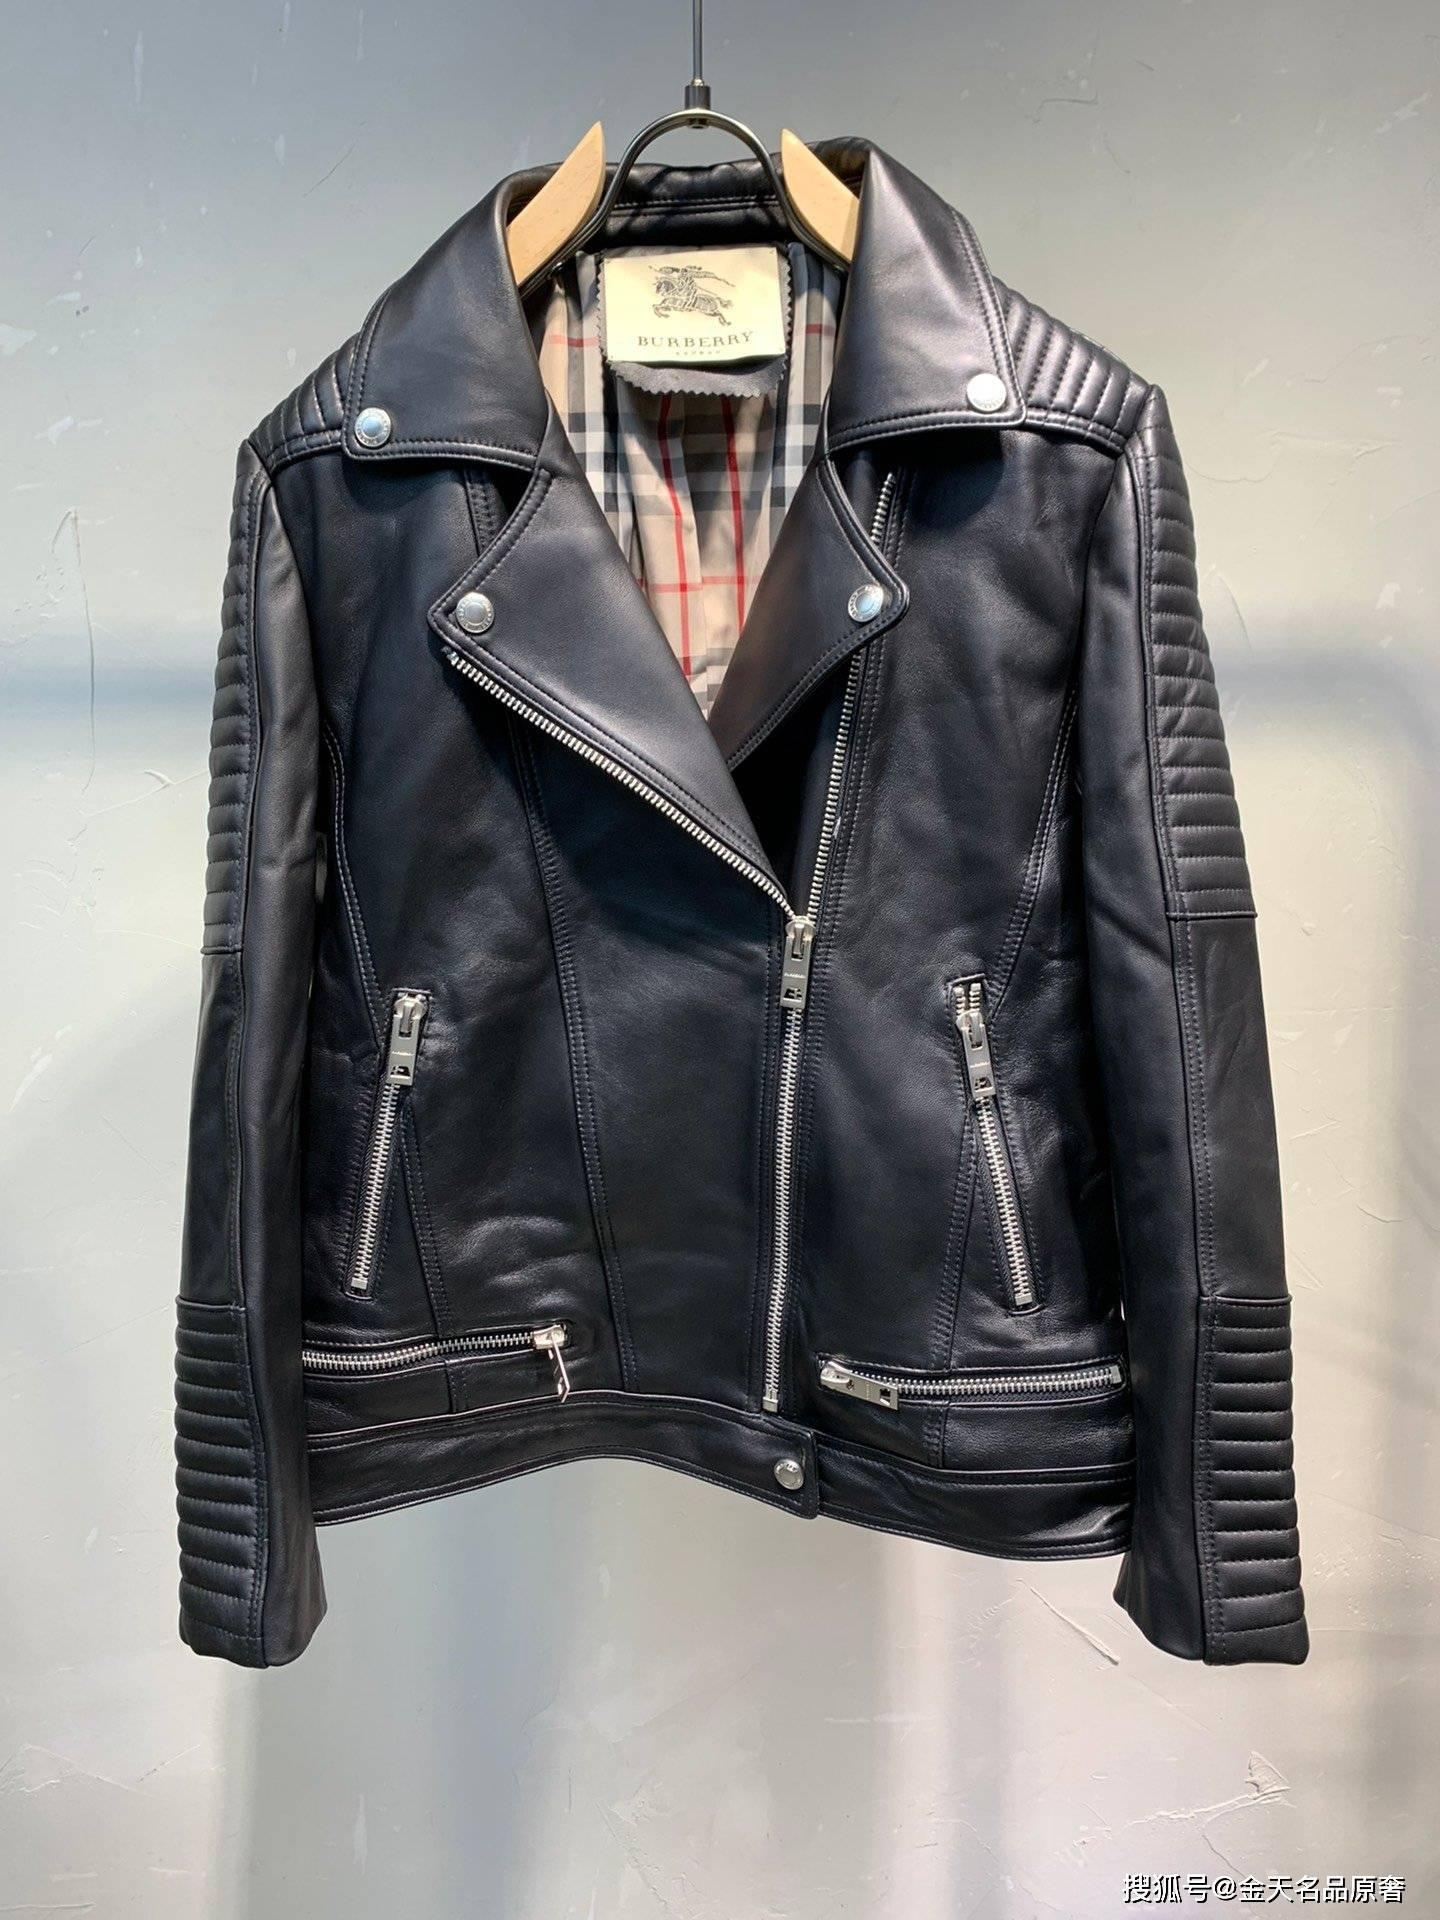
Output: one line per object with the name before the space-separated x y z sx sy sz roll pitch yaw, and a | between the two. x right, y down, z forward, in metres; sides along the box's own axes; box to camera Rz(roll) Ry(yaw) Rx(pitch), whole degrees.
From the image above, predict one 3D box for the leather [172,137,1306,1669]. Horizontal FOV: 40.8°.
leather | -0.020 -0.040 1.337 0.746 1.020 0.564 -5 20 14
